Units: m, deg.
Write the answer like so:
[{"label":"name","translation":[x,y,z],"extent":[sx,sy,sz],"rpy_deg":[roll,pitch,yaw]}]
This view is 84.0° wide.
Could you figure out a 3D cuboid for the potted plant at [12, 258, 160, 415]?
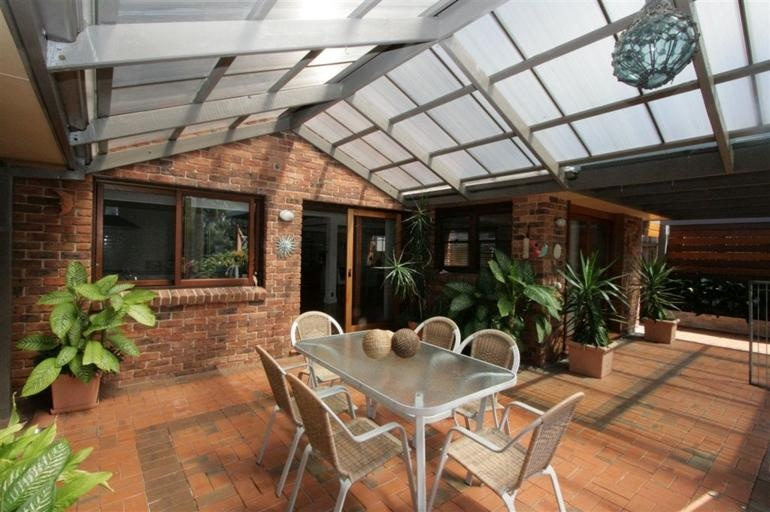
[{"label":"potted plant","translation":[-3.464,0.847,4.965],"extent":[1.226,1.575,0.967],"rpy_deg":[-1,2,-39]}]
